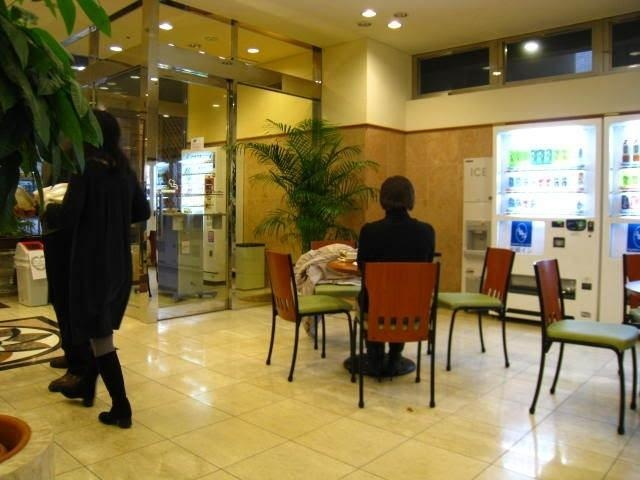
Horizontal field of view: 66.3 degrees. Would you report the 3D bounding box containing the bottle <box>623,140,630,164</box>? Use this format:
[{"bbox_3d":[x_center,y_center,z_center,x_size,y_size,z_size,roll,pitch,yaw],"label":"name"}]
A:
[{"bbox_3d":[3.345,-0.970,5.350,0.074,0.268,0.132,5,7,31],"label":"bottle"}]

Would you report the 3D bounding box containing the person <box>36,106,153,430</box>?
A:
[{"bbox_3d":[-1.381,0.197,3.029,0.514,1.946,0.587,0,6,-9],"label":"person"}]

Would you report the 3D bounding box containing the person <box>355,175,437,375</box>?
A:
[{"bbox_3d":[0.581,0.318,3.845,0.586,1.641,0.664,2,6,12],"label":"person"}]

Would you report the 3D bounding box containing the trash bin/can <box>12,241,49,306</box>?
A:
[{"bbox_3d":[-3.629,0.408,6.206,0.539,0.715,0.526,2,6,-6],"label":"trash bin/can"}]
